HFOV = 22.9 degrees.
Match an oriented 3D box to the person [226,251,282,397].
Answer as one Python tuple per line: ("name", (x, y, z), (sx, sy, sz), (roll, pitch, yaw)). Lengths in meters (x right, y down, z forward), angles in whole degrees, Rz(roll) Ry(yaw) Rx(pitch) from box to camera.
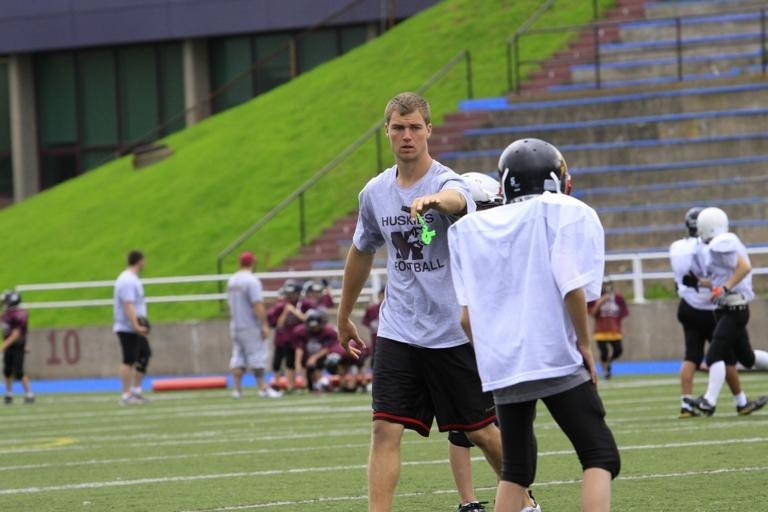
("person", (-3.498, 1.811, 50.371), (1.147, 3.429, 0.954), (-2, -1, 0))

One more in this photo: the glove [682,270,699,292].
("glove", (7.424, 0.600, 45.791), (0.275, 0.432, 0.145), (-12, -13, 33))

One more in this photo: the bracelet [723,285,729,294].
("bracelet", (8.169, 0.803, 45.228), (0.096, 0.164, 0.128), (-39, 29, 12))

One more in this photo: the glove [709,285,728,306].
("glove", (8.031, 0.944, 45.216), (0.343, 0.273, 0.465), (6, 17, 26))
